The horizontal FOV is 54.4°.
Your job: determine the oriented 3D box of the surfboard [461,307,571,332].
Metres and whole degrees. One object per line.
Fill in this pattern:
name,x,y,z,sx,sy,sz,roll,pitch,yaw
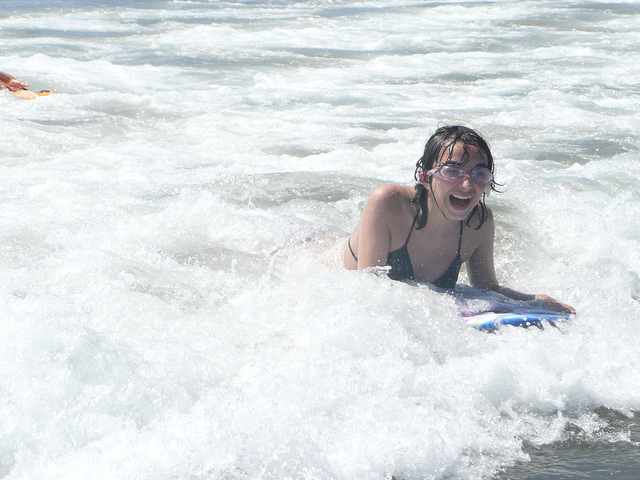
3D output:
surfboard,1.169,0.517,4.119,0.951,0.099,0.217,-2,12,-5

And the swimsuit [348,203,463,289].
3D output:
swimsuit,0.729,0.045,4.810,0.714,0.642,0.716,25,9,31

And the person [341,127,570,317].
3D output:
person,0.846,-0.158,4.497,1.169,1.276,0.445,-2,31,-5
